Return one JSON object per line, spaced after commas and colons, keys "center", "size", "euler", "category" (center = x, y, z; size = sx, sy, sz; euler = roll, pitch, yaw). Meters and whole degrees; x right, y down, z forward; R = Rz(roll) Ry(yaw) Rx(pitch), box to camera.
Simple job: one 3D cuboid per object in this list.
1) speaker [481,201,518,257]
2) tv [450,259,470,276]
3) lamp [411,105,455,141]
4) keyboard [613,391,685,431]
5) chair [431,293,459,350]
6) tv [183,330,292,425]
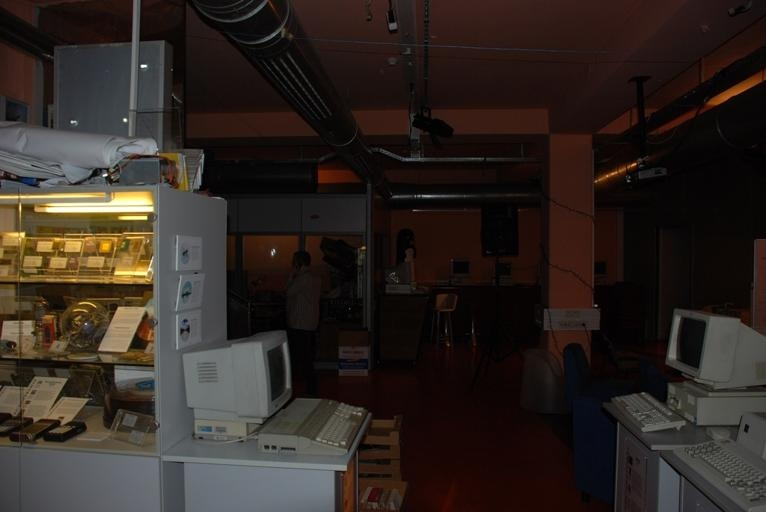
{"center": [1.700, -0.331, 9.464], "size": [0.518, 0.813, 0.740], "euler": [-2, 11, 9], "category": "speaker"}
{"center": [1.499, 0.216, 12.750], "size": [0.460, 0.441, 0.265], "euler": [2, 7, 6], "category": "tv"}
{"center": [0.505, -1.365, 6.858], "size": [0.468, 0.188, 0.260], "euler": [12, -2, -15], "category": "lamp"}
{"center": [2.029, 1.191, 4.933], "size": [0.188, 0.079, 0.338], "euler": [-16, 11, -1], "category": "keyboard"}
{"center": [1.089, 1.163, 11.535], "size": [0.392, 0.920, 0.399], "euler": [1, 2, 6], "category": "chair"}
{"center": [-1.062, 0.848, 4.803], "size": [0.619, 0.565, 0.634], "euler": [-1, 1, 7], "category": "tv"}
